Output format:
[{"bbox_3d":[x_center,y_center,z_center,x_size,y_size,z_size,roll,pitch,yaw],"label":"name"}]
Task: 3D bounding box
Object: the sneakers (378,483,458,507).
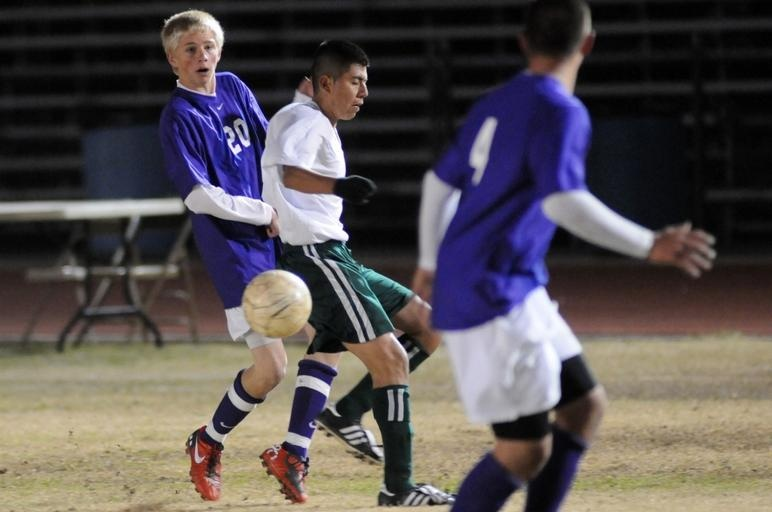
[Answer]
[{"bbox_3d":[0.237,1.835,9.472,0.612,0.206,0.202,-3,1,-2],"label":"sneakers"}]
